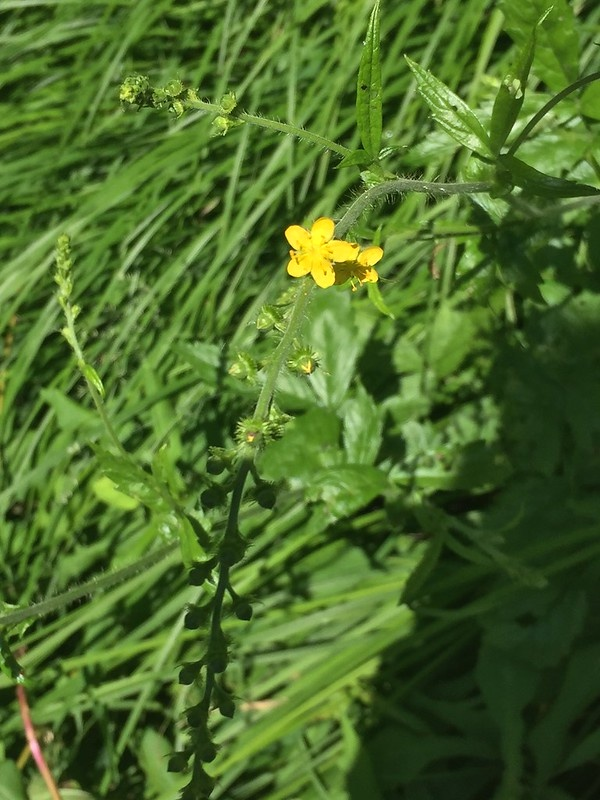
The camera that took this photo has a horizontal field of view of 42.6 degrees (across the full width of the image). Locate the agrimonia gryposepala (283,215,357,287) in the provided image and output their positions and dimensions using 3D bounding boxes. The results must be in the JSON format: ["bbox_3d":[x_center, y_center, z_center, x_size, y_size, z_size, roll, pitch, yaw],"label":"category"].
[{"bbox_3d":[0.022,-0.151,0.797,0.071,0.061,0.064,-26,48,7],"label":"agrimonia gryposepala"}]
